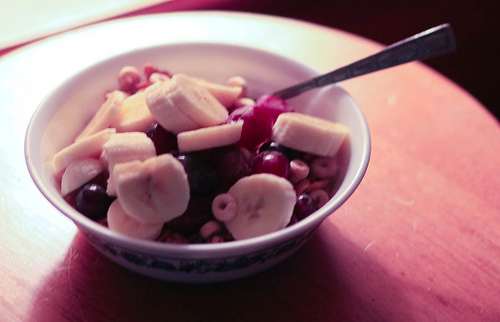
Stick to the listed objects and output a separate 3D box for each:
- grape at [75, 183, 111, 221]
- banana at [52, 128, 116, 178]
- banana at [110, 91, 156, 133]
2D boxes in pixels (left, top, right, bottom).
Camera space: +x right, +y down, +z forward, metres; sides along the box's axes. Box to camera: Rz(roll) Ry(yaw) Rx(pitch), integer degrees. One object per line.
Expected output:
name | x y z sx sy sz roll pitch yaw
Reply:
grape | -0.388 0.099 1.135 0.076 0.086 0.048 -8 -2 -6
banana | -0.427 -0.041 1.181 0.213 0.100 0.113 -21 23 -40
banana | -0.313 -0.133 1.250 0.077 0.094 0.126 -3 15 -16
